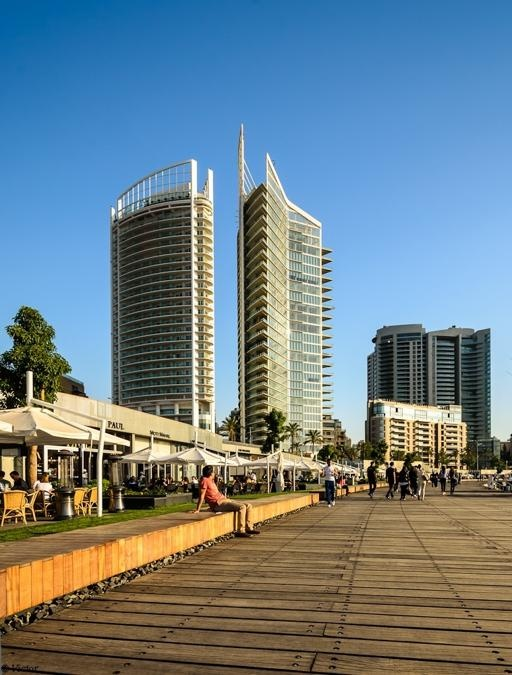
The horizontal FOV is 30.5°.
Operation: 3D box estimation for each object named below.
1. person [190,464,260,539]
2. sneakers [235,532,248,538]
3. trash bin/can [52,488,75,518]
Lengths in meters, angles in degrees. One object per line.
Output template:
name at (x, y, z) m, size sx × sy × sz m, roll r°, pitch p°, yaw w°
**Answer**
person at (-0.418, 2.499, 14.363) m, size 0.867 × 1.085 × 1.296 m, roll 1°, pitch -10°, yaw -1°
sneakers at (-0.231, 3.034, 14.442) m, size 0.214 × 0.086 × 0.071 m, roll 10°, pitch -11°, yaw 0°
trash bin/can at (-3.583, 3.063, 17.388) m, size 0.514 × 0.626 × 0.514 m, roll 1°, pitch -6°, yaw -26°
